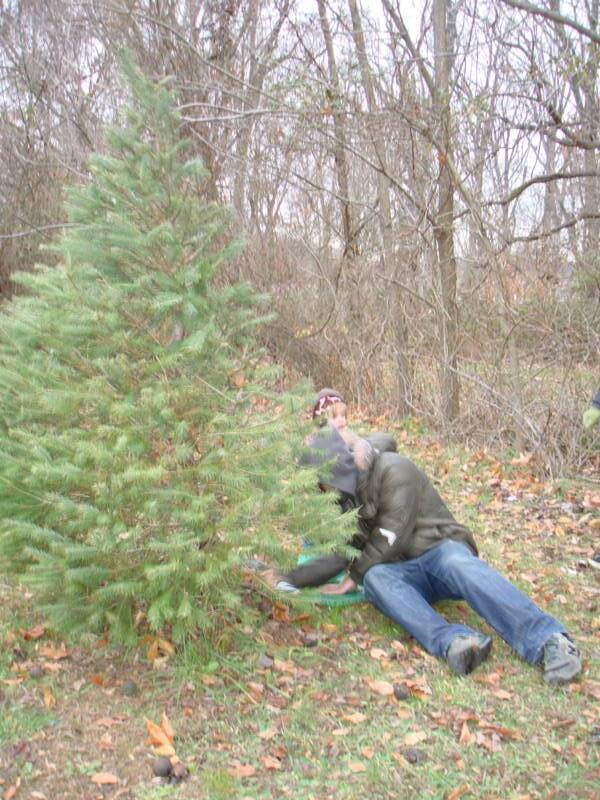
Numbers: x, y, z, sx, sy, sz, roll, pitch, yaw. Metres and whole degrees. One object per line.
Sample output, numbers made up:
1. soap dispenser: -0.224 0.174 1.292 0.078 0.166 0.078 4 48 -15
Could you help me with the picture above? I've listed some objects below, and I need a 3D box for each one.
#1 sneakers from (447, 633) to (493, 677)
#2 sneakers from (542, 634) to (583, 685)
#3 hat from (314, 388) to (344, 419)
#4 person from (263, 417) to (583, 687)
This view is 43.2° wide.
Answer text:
1. sneakers: 0.780 1.197 3.493 0.132 0.105 0.226 -41 5 -15
2. sneakers: 1.179 1.185 3.429 0.122 0.249 0.099 2 -10 3
3. hat: 0.147 0.031 4.285 0.152 0.161 0.235 -4 11 -21
4. person: 0.739 0.751 3.801 1.221 0.933 0.603 8 12 39
